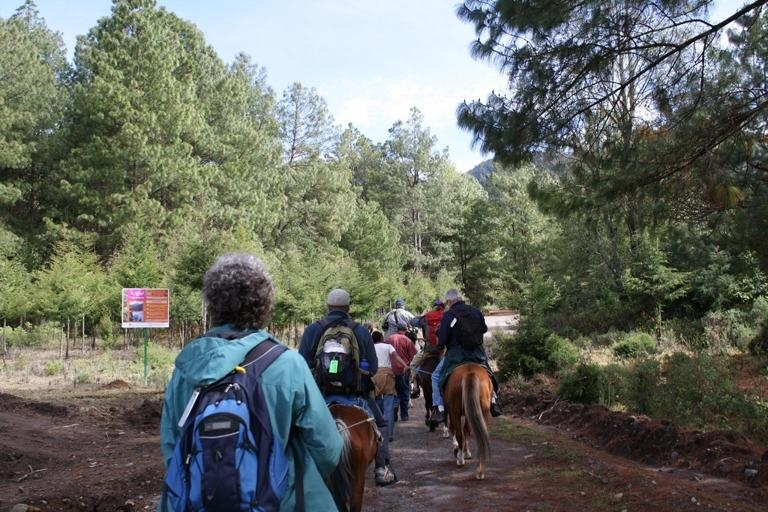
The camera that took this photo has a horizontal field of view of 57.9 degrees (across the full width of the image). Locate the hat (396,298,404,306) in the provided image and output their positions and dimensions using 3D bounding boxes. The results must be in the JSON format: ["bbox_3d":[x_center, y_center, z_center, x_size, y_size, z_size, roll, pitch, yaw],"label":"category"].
[{"bbox_3d":[0.495,1.494,22.320,0.340,0.261,0.541,0,-6,0],"label":"hat"}]

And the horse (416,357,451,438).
[{"bbox_3d":[1.457,4.172,19.938,0.576,1.711,2.264,-5,1,-17],"label":"horse"}]

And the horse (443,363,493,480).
[{"bbox_3d":[2.068,4.028,17.092,1.121,2.708,1.700,0,-10,-5],"label":"horse"}]

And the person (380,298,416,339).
[{"bbox_3d":[0.488,2.437,21.837,0.961,2.048,0.835,0,0,22],"label":"person"}]
